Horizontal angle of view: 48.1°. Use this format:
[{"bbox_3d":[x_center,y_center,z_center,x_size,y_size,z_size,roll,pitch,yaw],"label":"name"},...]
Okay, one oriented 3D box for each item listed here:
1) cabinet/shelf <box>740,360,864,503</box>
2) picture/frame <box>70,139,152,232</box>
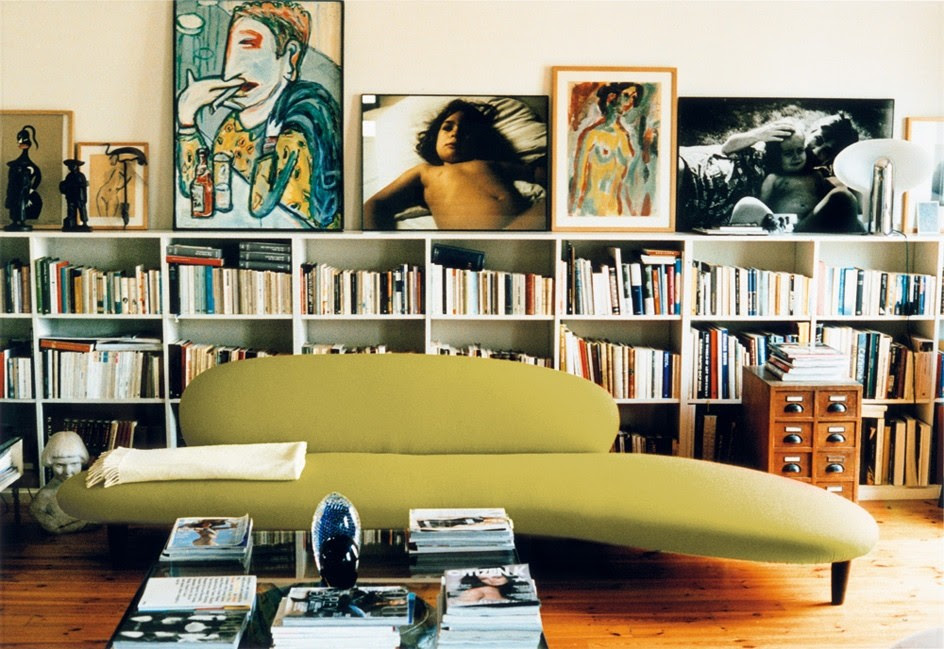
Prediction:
[{"bbox_3d":[2.065,0.686,6.488,0.619,1.100,0.782,-1,0,0],"label":"cabinet/shelf"},{"bbox_3d":[-2.430,-0.899,7.011,0.637,0.743,0.061,0,4,3],"label":"picture/frame"}]
